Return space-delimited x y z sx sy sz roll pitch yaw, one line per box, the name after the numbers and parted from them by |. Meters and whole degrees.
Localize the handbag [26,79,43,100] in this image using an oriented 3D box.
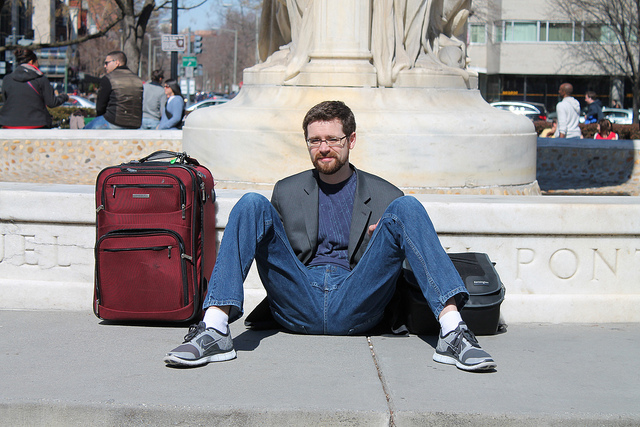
-4.009 -1.794 15.098 0.071 0.253 0.213 9 13 41 | handbag

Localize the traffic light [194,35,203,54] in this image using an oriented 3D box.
-3.603 -5.106 31.785 0.218 0.493 0.805 -2 10 -11 | traffic light

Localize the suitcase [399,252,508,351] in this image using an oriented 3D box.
1.260 0.586 9.443 0.655 0.316 0.827 6 27 -12 | suitcase

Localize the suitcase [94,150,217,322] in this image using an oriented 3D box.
-1.502 0.165 9.635 1.100 1.529 0.938 0 8 -4 | suitcase

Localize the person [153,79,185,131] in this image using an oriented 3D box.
-2.406 -1.703 17.140 0.579 0.943 0.631 -2 -7 -26 | person

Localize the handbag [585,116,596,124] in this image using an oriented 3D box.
5.835 -2.052 23.022 0.150 0.149 0.108 5 4 32 | handbag

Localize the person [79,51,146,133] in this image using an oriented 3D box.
-3.025 -1.835 15.837 0.890 1.167 0.906 -1 5 -4 | person
